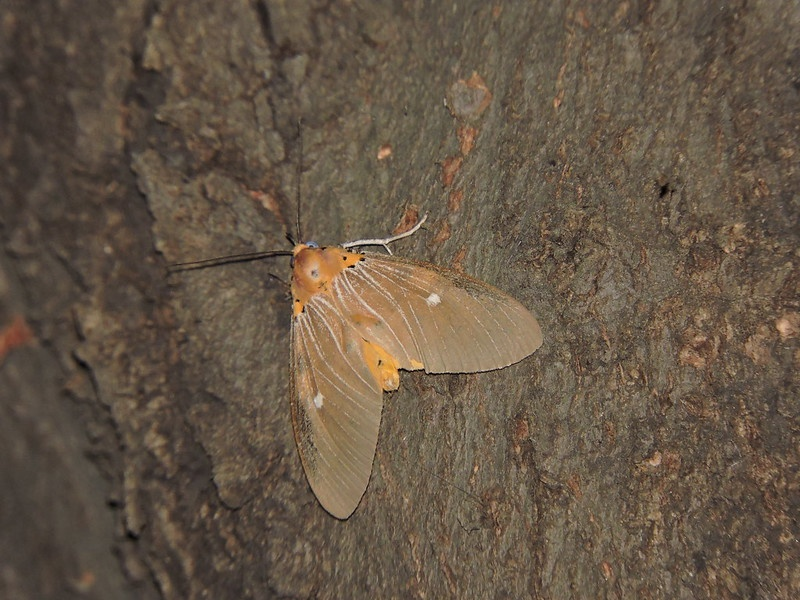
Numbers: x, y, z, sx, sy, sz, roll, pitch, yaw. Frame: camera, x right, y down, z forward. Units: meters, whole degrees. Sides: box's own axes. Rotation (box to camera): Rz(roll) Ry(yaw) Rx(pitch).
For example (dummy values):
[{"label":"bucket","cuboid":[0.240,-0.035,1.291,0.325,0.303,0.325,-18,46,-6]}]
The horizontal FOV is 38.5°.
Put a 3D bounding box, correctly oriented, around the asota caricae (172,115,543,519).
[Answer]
[{"label":"asota caricae","cuboid":[-0.138,0.230,6.800,1.789,0.629,2.512,-36,78,10]}]
